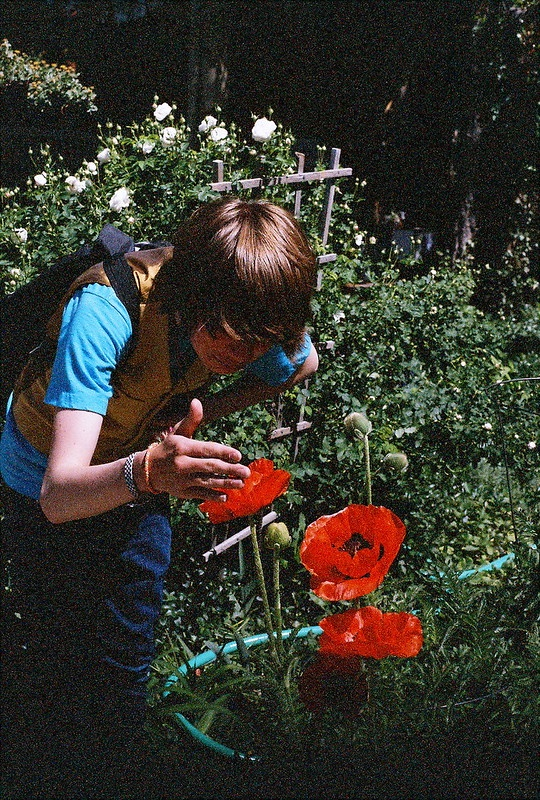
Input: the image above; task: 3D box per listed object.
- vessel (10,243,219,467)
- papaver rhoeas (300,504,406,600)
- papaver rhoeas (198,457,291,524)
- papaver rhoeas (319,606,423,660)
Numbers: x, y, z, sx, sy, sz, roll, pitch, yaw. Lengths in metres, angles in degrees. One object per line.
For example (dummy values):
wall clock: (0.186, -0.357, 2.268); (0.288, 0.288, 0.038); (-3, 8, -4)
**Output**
vessel: (-0.215, -0.071, 1.091); (0.316, 0.307, 0.249); (10, 16, 29)
papaver rhoeas: (0.080, 0.164, 0.796); (0.103, 0.045, 0.109); (-37, 32, -11)
papaver rhoeas: (-0.022, 0.105, 0.806); (0.089, 0.086, 0.096); (-2, 15, -25)
papaver rhoeas: (0.097, 0.228, 0.714); (0.098, 0.050, 0.037); (5, 14, 1)
